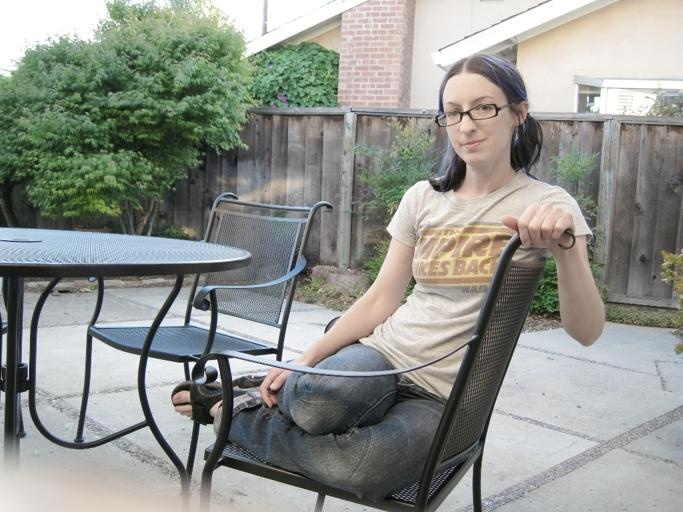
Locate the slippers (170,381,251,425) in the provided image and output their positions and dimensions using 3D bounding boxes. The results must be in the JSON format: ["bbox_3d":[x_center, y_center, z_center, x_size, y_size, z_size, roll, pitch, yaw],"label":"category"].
[{"bbox_3d":[-0.371,0.406,1.576,0.200,0.123,0.088,4,11,11],"label":"slippers"}]
